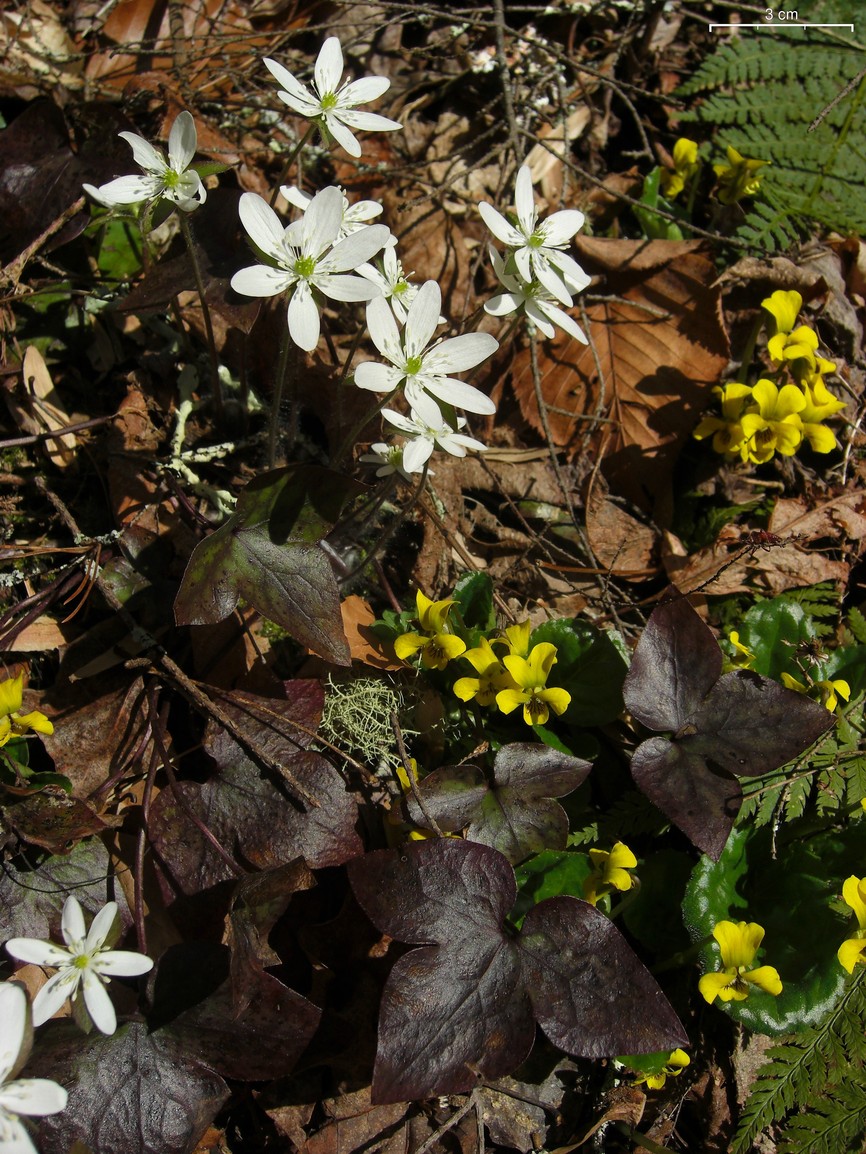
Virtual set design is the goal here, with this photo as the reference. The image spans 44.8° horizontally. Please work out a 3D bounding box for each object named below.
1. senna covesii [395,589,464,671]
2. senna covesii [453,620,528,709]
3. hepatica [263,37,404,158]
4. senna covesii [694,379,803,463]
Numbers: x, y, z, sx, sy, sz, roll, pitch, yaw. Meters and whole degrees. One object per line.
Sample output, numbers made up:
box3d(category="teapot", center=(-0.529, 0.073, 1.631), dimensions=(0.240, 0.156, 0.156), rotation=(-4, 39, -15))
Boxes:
box3d(category="senna covesii", center=(0.000, 0.137, 2.531), dimensions=(0.162, 0.246, 0.265), rotation=(6, 25, 1))
box3d(category="senna covesii", center=(0.135, 0.203, 2.382), dimensions=(0.206, 0.187, 0.065), rotation=(17, -19, 7))
box3d(category="hepatica", center=(-0.203, -1.038, 2.273), dimensions=(0.259, 0.240, 0.356), rotation=(7, 25, 3))
box3d(category="senna covesii", center=(0.851, -0.462, 2.830), dimensions=(0.259, 0.252, 0.147), rotation=(-31, 15, 25))
